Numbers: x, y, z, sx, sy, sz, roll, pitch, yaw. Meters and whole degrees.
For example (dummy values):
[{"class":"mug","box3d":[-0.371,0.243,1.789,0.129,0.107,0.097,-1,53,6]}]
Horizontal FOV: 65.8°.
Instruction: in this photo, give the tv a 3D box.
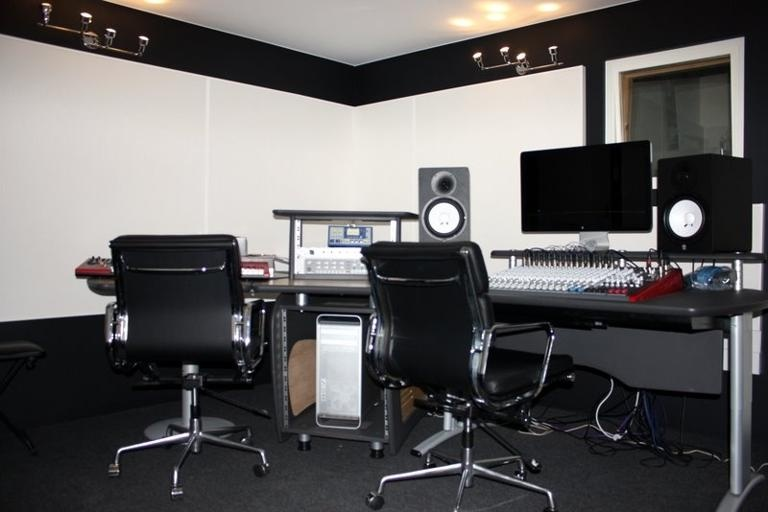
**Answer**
[{"class":"tv","box3d":[1.431,-0.417,4.139,0.847,0.657,0.257,-1,-2,32]}]

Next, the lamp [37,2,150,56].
[{"class":"lamp","box3d":[-2.226,-1.748,4.581,0.777,0.361,0.199,-5,11,-28]}]

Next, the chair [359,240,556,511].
[{"class":"chair","box3d":[0.416,0.699,3.433,1.078,1.611,0.486,0,10,-3]}]

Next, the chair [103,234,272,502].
[{"class":"chair","box3d":[-1.230,0.687,3.895,1.000,1.470,1.080,-1,-4,8]}]
